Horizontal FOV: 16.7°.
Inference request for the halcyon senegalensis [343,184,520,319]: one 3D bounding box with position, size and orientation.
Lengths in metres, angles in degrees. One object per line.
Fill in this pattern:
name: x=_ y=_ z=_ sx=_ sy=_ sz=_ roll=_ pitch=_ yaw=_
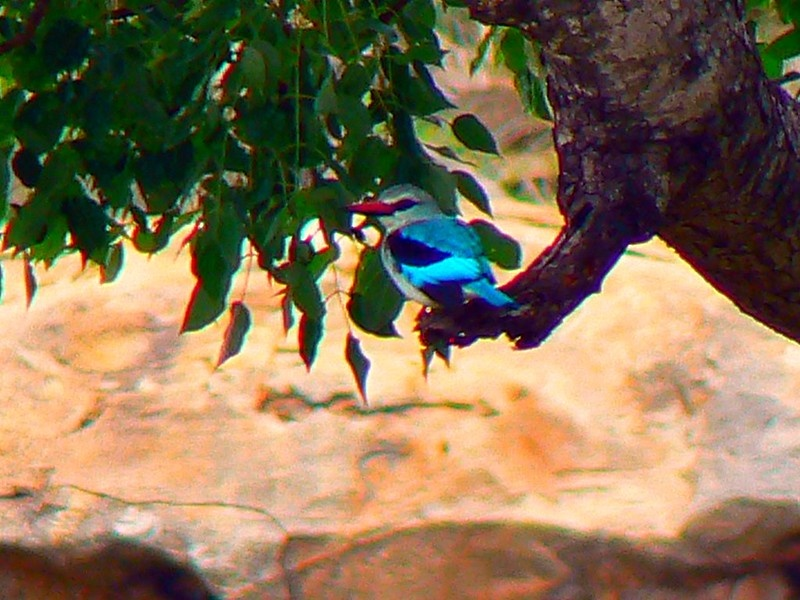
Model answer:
halcyon senegalensis: x=0.062 y=-0.103 z=5.739 sx=0.379 sy=0.251 sz=0.184 roll=12 pitch=21 yaw=-3
